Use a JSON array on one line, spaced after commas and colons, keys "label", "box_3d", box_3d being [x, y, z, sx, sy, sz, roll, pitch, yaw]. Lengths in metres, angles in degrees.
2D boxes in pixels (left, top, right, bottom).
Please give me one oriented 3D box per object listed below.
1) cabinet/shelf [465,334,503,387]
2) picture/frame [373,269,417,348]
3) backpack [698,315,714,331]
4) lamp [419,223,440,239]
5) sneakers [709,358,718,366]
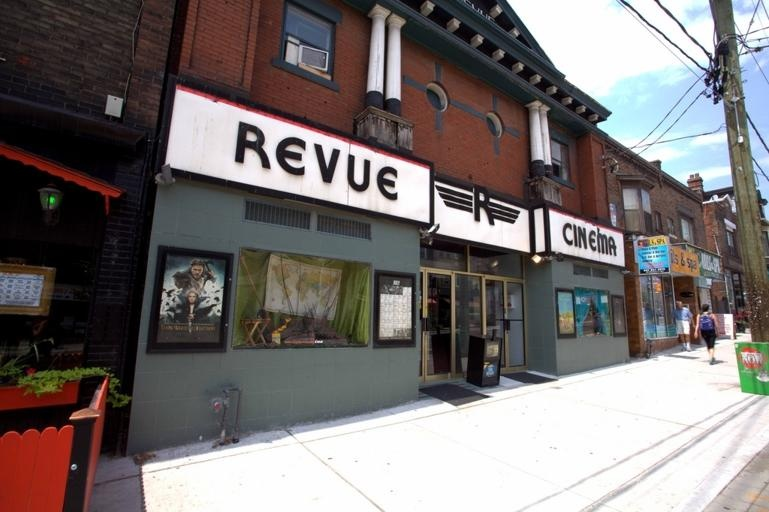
[{"label": "cabinet/shelf", "box_3d": [2.730, 2.858, 13.724, 0.887, 1.293, 0.891, 2, -1, 30]}, {"label": "picture/frame", "box_3d": [0.198, 1.302, 11.773, 1.679, 2.368, 0.183, 4, -9, -30]}, {"label": "backpack", "box_3d": [10.948, 2.219, 16.784, 0.410, 0.583, 0.704, 9, 15, 32]}, {"label": "lamp", "box_3d": [1.142, -0.618, 12.696, 0.471, 0.459, 0.575, 3, 13, 9]}, {"label": "sneakers", "box_3d": [11.125, 3.515, 16.718, 0.201, 0.269, 0.612, 10, 2, 43]}]
